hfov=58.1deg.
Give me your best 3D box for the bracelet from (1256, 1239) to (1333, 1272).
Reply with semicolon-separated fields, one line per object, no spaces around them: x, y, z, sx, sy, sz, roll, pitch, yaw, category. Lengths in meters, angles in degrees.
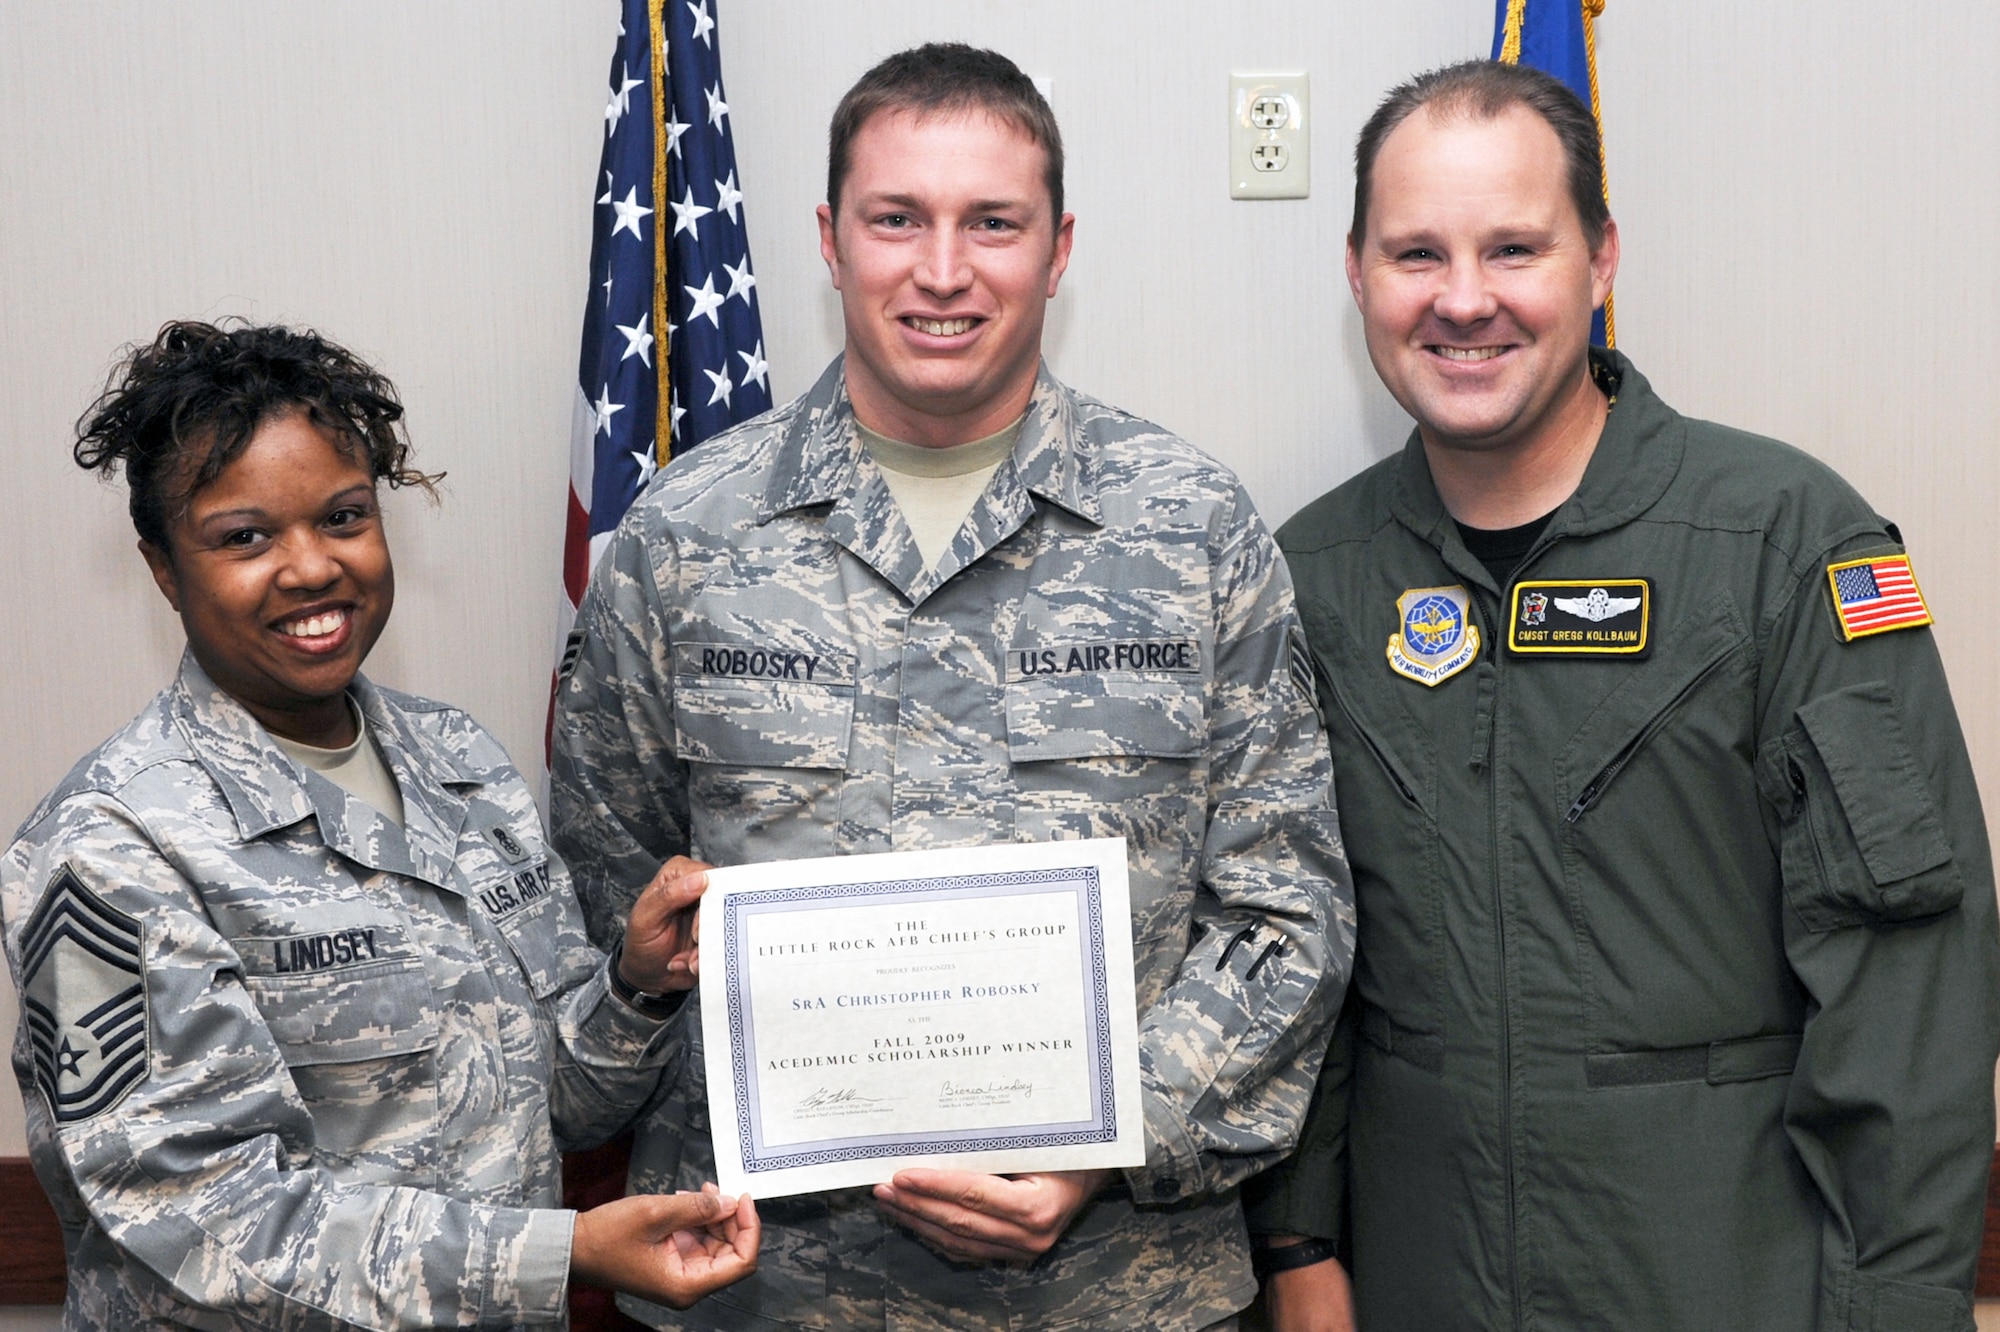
0.433;0.864;2.652;0.066;0.017;0.066;-4;-2;1;bracelet
